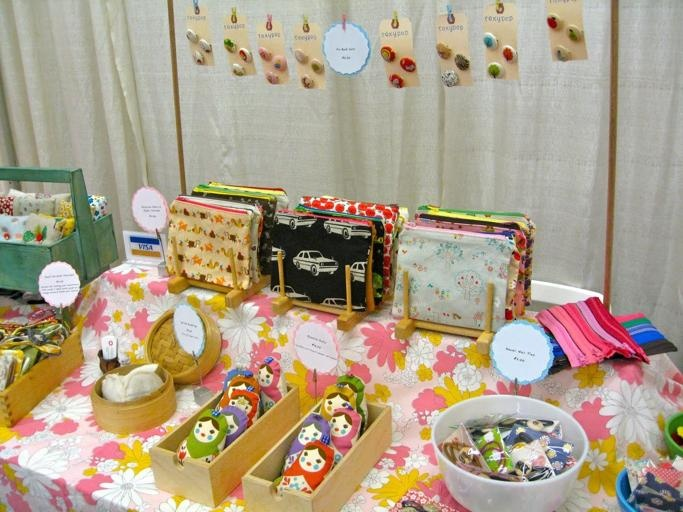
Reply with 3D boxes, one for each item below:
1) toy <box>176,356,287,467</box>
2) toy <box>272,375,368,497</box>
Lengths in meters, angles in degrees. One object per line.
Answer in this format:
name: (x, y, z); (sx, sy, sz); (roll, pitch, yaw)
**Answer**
toy: (-0.311, 0.447, 1.429); (0.161, 0.141, 0.307); (8, 34, 25)
toy: (-0.037, 0.485, 1.349); (0.124, 0.127, 0.349); (25, 52, 18)
